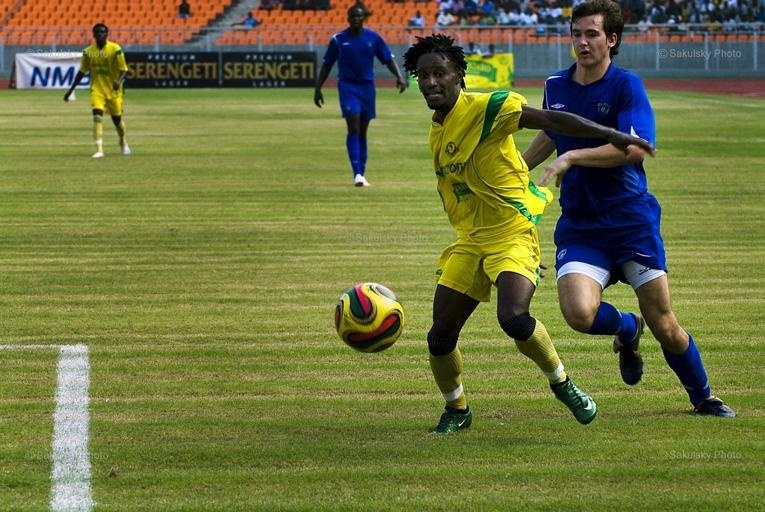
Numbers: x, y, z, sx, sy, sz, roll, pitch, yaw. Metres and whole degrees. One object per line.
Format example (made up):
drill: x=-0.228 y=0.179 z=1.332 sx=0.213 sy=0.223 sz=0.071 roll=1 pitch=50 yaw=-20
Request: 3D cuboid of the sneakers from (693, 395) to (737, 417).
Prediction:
sneakers: x=3.862 y=1.752 z=17.484 sx=0.473 sy=0.177 sz=0.214 roll=0 pitch=7 yaw=8

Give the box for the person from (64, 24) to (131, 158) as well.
person: x=-4.972 y=-2.931 z=26.674 sx=0.929 sy=2.288 sz=1.309 roll=-4 pitch=17 yaw=-9

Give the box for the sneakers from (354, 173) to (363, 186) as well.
sneakers: x=-0.377 y=-1.216 z=24.216 sx=0.145 sy=0.182 sz=0.222 roll=-1 pitch=15 yaw=-1

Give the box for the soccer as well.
soccer: x=-0.205 y=0.722 z=17.428 sx=0.978 sy=0.720 sz=0.795 roll=2 pitch=-9 yaw=1
